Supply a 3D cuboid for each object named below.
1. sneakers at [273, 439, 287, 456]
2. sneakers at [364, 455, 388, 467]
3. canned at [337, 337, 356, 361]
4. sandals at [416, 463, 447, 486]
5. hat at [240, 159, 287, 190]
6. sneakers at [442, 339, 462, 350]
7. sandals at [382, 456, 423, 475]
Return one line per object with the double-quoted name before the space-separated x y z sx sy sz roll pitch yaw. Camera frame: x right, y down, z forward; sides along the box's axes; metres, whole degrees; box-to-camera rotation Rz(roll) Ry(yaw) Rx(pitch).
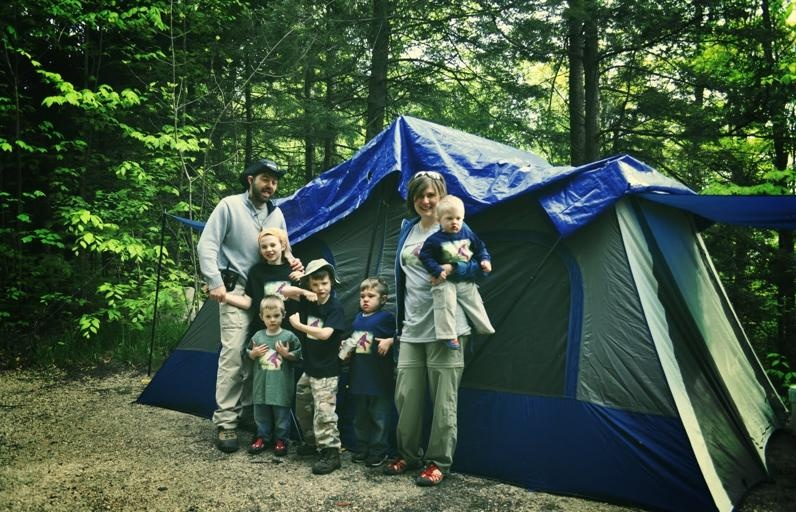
"sneakers" -1.480 2.442 11.198 0.127 0.098 0.235 2 9 -6
"sneakers" -0.261 2.569 11.034 0.294 0.118 0.115 8 -6 -28
"canned" -0.633 1.191 11.121 0.184 0.266 0.158 29 -12 2
"sandals" 0.413 2.674 10.717 0.212 0.159 0.368 -2 -9 28
"hat" -1.767 -1.079 11.540 0.527 0.192 0.370 -6 -4 19
"sneakers" 0.665 1.069 10.672 0.238 0.093 0.082 -1 3 14
"sandals" 0.060 2.616 11.003 0.499 0.195 0.176 3 -4 -22
